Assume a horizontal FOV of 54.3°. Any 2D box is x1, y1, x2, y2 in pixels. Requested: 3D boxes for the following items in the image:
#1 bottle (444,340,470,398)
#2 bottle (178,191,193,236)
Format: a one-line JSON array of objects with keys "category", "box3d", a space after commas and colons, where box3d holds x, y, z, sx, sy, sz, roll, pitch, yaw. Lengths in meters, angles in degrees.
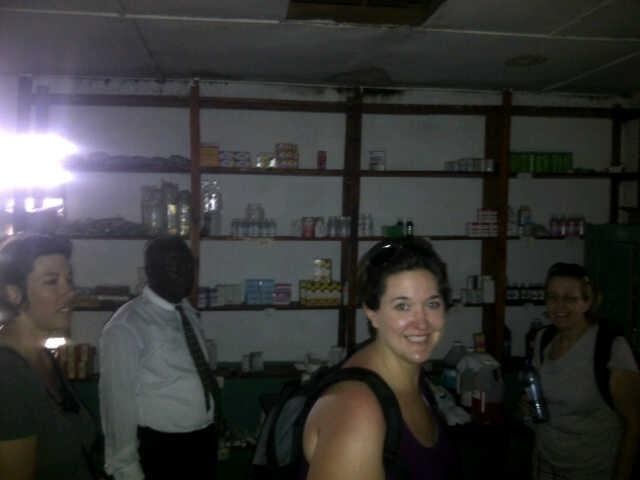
[{"category": "bottle", "box3d": [1.174, 1.155, 5.697, 0.332, 0.536, 0.370, 0, -7, 6]}, {"category": "bottle", "box3d": [-1.272, -0.250, 5.847, 0.105, 0.432, 0.120, 1, 2, -15]}]
